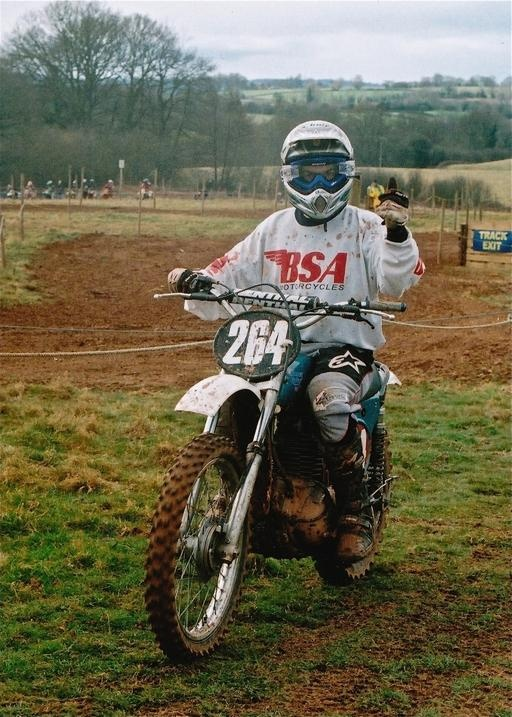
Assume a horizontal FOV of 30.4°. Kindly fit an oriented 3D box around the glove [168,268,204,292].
[{"bbox_3d":[-0.319,-0.368,4.553,0.146,0.105,0.124,11,28,-50],"label":"glove"}]

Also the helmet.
[{"bbox_3d":[0.331,-0.954,4.788,0.426,0.471,0.510,-1,24,7],"label":"helmet"}]
